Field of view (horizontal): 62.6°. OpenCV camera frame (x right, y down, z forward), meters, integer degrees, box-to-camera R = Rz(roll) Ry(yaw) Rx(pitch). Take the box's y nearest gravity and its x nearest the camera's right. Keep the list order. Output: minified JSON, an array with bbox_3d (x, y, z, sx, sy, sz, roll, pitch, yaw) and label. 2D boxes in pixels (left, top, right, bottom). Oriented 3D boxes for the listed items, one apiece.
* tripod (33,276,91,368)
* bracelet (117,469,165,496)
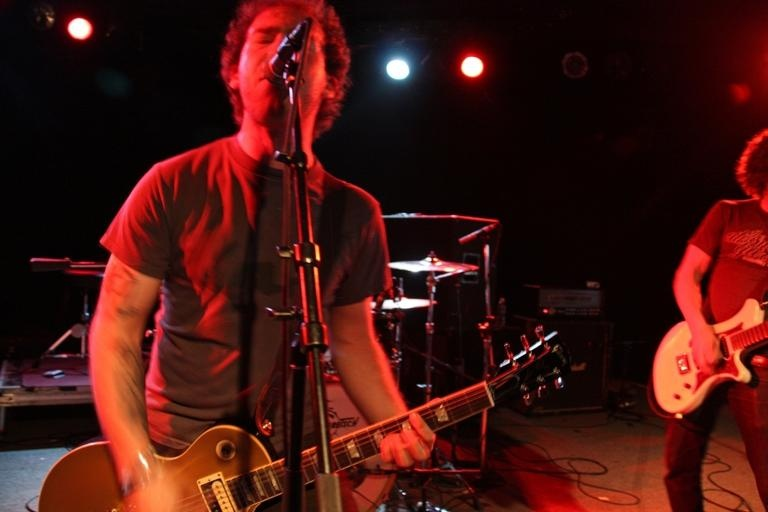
[{"bbox_3d":[-3.560,0.766,7.415,0.781,0.880,0.773,4,-3,13],"label":"tripod"},{"bbox_3d":[-1.301,1.208,3.369,0.183,0.127,0.179,6,-10,-30],"label":"bracelet"}]
